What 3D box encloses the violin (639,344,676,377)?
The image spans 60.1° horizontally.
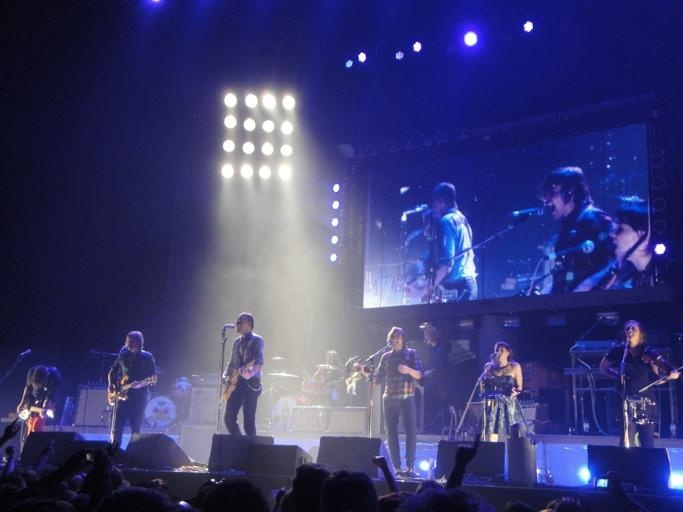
[{"bbox_3d":[4.562,1.521,8.391,0.440,0.476,0.537,-10,-20,39],"label":"violin"}]

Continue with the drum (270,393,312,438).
[{"bbox_3d":[-1.170,3.393,12.780,0.596,1.235,1.035,10,-28,-29],"label":"drum"}]

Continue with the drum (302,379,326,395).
[{"bbox_3d":[-0.626,2.889,13.044,0.612,0.460,0.211,-12,-21,43],"label":"drum"}]

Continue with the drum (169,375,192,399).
[{"bbox_3d":[-3.598,3.007,13.309,0.412,0.622,0.178,0,-25,3],"label":"drum"}]

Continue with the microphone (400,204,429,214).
[{"bbox_3d":[1.880,-1.155,14.615,0.338,0.116,0.261,-15,1,37],"label":"microphone"}]

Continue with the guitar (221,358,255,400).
[{"bbox_3d":[-1.596,1.930,9.058,0.553,0.567,0.171,-8,-18,35],"label":"guitar"}]

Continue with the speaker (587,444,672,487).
[{"bbox_3d":[3.106,2.264,6.367,0.713,0.518,0.732,11,-15,-30],"label":"speaker"}]

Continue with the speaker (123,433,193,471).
[{"bbox_3d":[-2.419,2.548,7.735,0.526,0.394,0.560,-9,-13,37],"label":"speaker"}]

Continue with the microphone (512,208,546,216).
[{"bbox_3d":[4.204,-0.967,13.148,0.663,0.224,0.221,0,16,37],"label":"microphone"}]

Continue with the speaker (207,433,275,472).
[{"bbox_3d":[-1.349,2.484,7.488,0.685,0.494,0.750,-1,-15,3],"label":"speaker"}]
